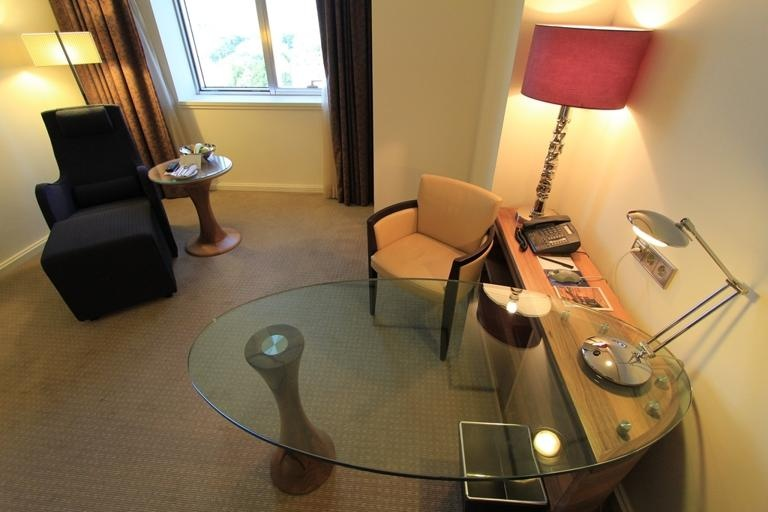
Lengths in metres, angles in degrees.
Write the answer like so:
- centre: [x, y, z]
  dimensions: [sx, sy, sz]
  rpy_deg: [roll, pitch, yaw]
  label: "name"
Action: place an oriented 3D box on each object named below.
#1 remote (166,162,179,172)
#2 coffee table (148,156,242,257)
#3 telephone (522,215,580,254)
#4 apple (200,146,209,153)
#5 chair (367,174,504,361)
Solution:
- centre: [-1.829, -0.775, 4.365]
  dimensions: [0.073, 0.029, 0.098]
  rpy_deg: [7, 38, 4]
  label: "remote"
- centre: [-1.672, -0.438, 4.615]
  dimensions: [0.673, 0.694, 0.685]
  rpy_deg: [-18, 27, -4]
  label: "coffee table"
- centre: [1.129, -0.128, 3.574]
  dimensions: [0.481, 0.188, 0.495]
  rpy_deg: [-1, 16, 12]
  label: "telephone"
- centre: [-1.607, -0.954, 4.498]
  dimensions: [0.055, 0.033, 0.055]
  rpy_deg: [14, 40, 14]
  label: "apple"
- centre: [0.371, 0.058, 3.778]
  dimensions: [0.792, 1.086, 0.890]
  rpy_deg: [-24, 42, -31]
  label: "chair"
